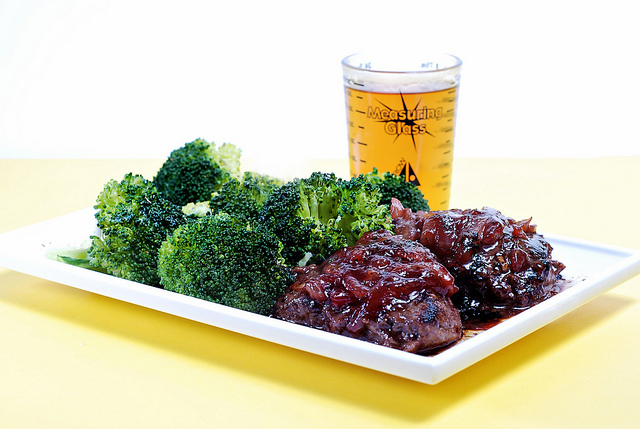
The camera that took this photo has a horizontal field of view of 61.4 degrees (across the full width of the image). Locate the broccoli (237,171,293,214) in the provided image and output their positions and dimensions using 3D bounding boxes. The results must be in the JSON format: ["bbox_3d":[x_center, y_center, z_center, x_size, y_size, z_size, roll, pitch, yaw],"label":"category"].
[{"bbox_3d":[-0.275,-0.126,2.483,0.216,0.133,0.225,13,17,41],"label":"broccoli"}]

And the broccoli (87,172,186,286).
[{"bbox_3d":[-0.773,0.026,2.208,0.411,0.176,0.419,3,55,-12],"label":"broccoli"}]

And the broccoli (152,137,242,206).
[{"bbox_3d":[-0.588,-0.180,2.597,0.422,0.139,0.321,-21,38,-10],"label":"broccoli"}]

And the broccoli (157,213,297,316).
[{"bbox_3d":[-0.316,0.157,2.087,0.498,0.182,0.516,22,36,-8],"label":"broccoli"}]
